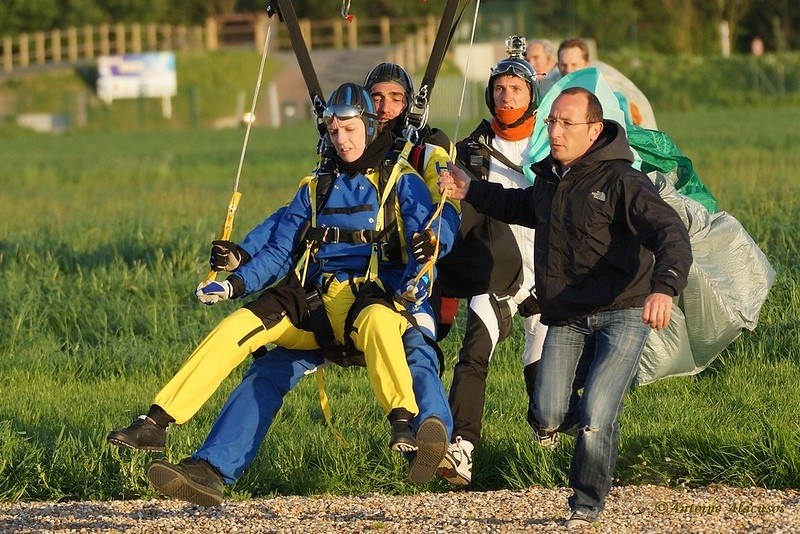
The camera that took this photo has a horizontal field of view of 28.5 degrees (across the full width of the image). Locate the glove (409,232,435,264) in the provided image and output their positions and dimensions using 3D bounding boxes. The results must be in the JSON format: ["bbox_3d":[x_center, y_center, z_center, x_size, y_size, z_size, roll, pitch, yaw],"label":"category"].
[{"bbox_3d":[0.228,-0.194,14.458,0.230,0.305,0.086,1,10,-2],"label":"glove"}]

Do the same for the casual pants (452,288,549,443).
[{"bbox_3d":[1.049,0.897,15.463,0.921,0.493,2.308,-12,42,13],"label":"casual pants"}]

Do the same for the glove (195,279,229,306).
[{"bbox_3d":[-1.733,0.234,14.455,0.247,0.123,0.199,-11,10,36],"label":"glove"}]

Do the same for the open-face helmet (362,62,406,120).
[{"bbox_3d":[-0.084,-1.686,15.374,0.391,0.560,0.526,2,17,6],"label":"open-face helmet"}]

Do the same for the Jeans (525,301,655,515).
[{"bbox_3d":[1.712,1.129,14.804,0.879,2.876,0.749,13,36,19],"label":"Jeans"}]

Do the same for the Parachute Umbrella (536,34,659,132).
[{"bbox_3d":[2.467,-2.237,18.560,0.993,1.432,0.693,-16,-7,33],"label":"Parachute Umbrella"}]

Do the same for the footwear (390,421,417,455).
[{"bbox_3d":[0.040,1.529,14.180,0.258,0.343,0.261,0,10,-5],"label":"footwear"}]

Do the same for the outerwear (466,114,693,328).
[{"bbox_3d":[1.716,-0.342,14.792,0.926,1.927,2.592,2,-3,-45],"label":"outerwear"}]

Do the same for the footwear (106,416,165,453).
[{"bbox_3d":[-2.334,1.496,14.236,0.576,0.321,0.239,14,2,-15],"label":"footwear"}]

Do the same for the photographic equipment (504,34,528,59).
[{"bbox_3d":[1.182,-2.227,15.920,0.234,0.272,0.326,0,-1,5],"label":"photographic equipment"}]

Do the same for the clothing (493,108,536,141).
[{"bbox_3d":[1.112,-1.410,15.584,0.279,0.216,0.370,-1,2,20],"label":"clothing"}]

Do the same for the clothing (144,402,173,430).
[{"bbox_3d":[-2.184,1.365,14.329,0.181,0.168,0.236,47,-7,20],"label":"clothing"}]
